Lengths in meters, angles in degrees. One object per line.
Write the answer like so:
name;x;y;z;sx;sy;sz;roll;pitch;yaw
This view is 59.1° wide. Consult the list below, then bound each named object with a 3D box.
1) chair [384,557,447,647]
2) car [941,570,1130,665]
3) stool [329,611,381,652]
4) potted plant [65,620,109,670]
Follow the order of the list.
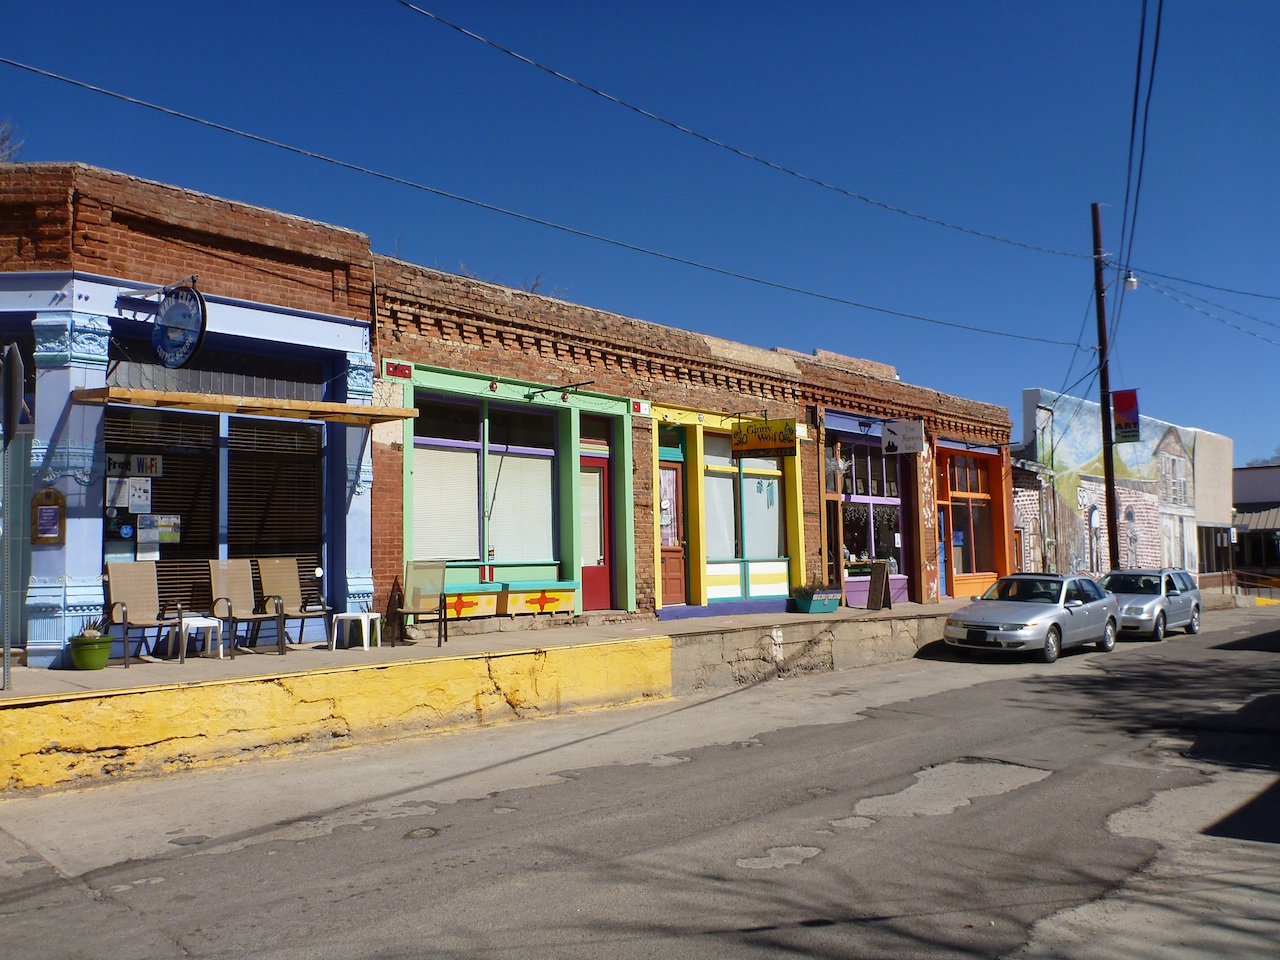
chair;-3.251;1.827;16.647;0.810;1.139;0.869;2;3;8
car;7.134;2.507;20.445;3.369;1.457;1.559;-3;4;-42
stool;-4.028;2.145;15.899;0.592;0.436;0.582;-1;-8;9
potted plant;-6.658;2.045;13.771;0.551;0.654;0.539;-1;-9;1
